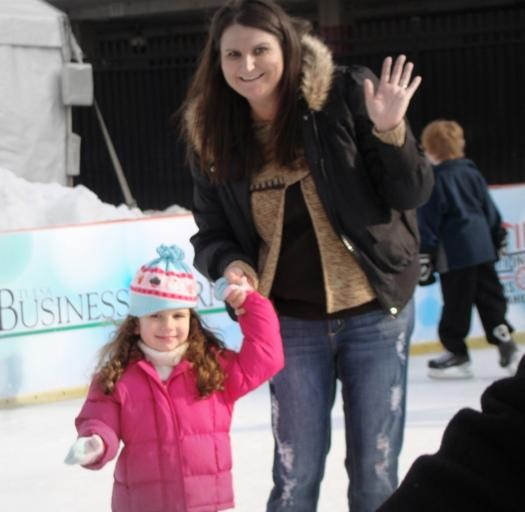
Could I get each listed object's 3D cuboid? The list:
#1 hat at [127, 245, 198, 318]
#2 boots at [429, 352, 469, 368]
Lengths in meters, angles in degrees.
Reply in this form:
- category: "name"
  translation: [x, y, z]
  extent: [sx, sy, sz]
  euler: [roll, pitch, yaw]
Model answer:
- category: "hat"
  translation: [-0.408, 0.102, 3.204]
  extent: [0.244, 0.280, 0.225]
  euler: [-6, -8, 35]
- category: "boots"
  translation: [1.160, 0.658, 5.406]
  extent: [0.256, 0.154, 0.103]
  euler: [2, -5, 2]
